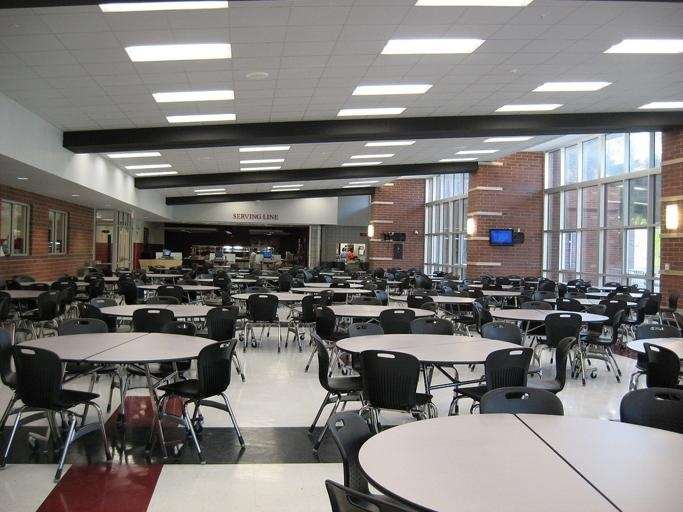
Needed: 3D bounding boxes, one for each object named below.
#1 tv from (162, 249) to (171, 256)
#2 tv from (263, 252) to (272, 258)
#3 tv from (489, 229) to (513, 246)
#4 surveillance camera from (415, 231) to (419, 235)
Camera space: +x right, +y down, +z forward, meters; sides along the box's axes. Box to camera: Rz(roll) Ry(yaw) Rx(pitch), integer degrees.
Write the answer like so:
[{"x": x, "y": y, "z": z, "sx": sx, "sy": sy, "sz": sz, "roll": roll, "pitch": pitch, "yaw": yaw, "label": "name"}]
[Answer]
[{"x": -7.330, "y": -0.144, "z": 21.170, "sx": 0.439, "sy": 0.312, "sz": 0.501, "roll": 1, "pitch": -4, "yaw": -7, "label": "tv"}, {"x": -3.276, "y": -0.052, "z": 22.579, "sx": 0.239, "sy": 0.237, "sz": 0.445, "roll": -4, "pitch": -4, "yaw": 42, "label": "tv"}, {"x": 4.573, "y": -0.516, "z": 14.761, "sx": 1.036, "sy": 0.540, "sz": 0.457, "roll": 1, "pitch": -2, "yaw": -1, "label": "tv"}, {"x": 3.062, "y": -0.958, "z": 20.453, "sx": 0.181, "sy": 0.130, "sz": 0.157, "roll": 1, "pitch": 7, "yaw": 7, "label": "surveillance camera"}]
